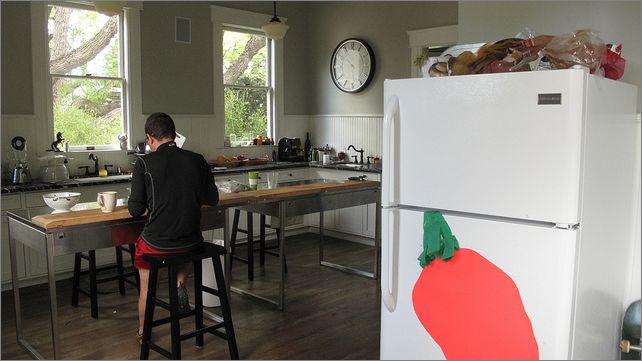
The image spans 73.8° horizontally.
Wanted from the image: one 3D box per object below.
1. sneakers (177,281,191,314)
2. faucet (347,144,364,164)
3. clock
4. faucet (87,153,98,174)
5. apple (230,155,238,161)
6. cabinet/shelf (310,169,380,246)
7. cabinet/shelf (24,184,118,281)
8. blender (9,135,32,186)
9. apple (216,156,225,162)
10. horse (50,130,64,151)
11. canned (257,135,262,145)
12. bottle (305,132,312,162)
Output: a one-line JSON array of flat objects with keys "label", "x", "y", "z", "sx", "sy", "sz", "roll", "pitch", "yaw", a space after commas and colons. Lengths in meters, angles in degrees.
[{"label": "sneakers", "x": -1.333, "y": 1.134, "z": 4.132, "sx": 0.109, "sy": 0.288, "sz": 0.156, "roll": -2, "pitch": 1, "yaw": -13}, {"label": "faucet", "x": 0.614, "y": -0.453, "z": 7.528, "sx": 0.153, "sy": 0.305, "sz": 0.393, "roll": -11, "pitch": 14, "yaw": -37}, {"label": "clock", "x": 0.578, "y": -1.991, "z": 7.431, "sx": 0.167, "sy": 0.998, "sz": 1.123, "roll": -3, "pitch": 6, "yaw": -43}, {"label": "faucet", "x": -3.315, "y": -0.228, "z": 6.202, "sx": 0.123, "sy": 0.304, "sz": 0.157, "roll": -8, "pitch": 13, "yaw": -26}, {"label": "apple", "x": -1.490, "y": -0.357, "z": 7.219, "sx": 0.091, "sy": 0.087, "sz": 0.050, "roll": -27, "pitch": 37, "yaw": 27}, {"label": "cabinet/shelf", "x": 0.399, "y": 0.397, "z": 6.371, "sx": 1.354, "sy": 1.045, "sz": 0.434, "roll": 3, "pitch": 4, "yaw": 41}, {"label": "cabinet/shelf", "x": -2.680, "y": 0.551, "z": 4.487, "sx": 0.647, "sy": 0.716, "sz": 1.235, "roll": 13, "pitch": 13, "yaw": 39}, {"label": "blender", "x": -3.982, "y": -0.265, "z": 5.602, "sx": 0.229, "sy": 0.589, "sz": 0.521, "roll": -10, "pitch": 14, "yaw": -33}, {"label": "apple", "x": -1.694, "y": -0.351, "z": 7.147, "sx": 0.131, "sy": 0.097, "sz": 0.102, "roll": -9, "pitch": -16, "yaw": -11}, {"label": "horse", "x": -3.737, "y": -0.534, "z": 6.008, "sx": 0.162, "sy": 0.281, "sz": 0.310, "roll": -8, "pitch": 13, "yaw": -27}, {"label": "canned", "x": -1.109, "y": -0.712, "z": 7.783, "sx": 0.076, "sy": 0.165, "sz": 0.197, "roll": 4, "pitch": 12, "yaw": 24}, {"label": "bottle", "x": -0.252, "y": -0.636, "z": 8.125, "sx": 0.146, "sy": 0.508, "sz": 0.334, "roll": -2, "pitch": 12, "yaw": -1}]
